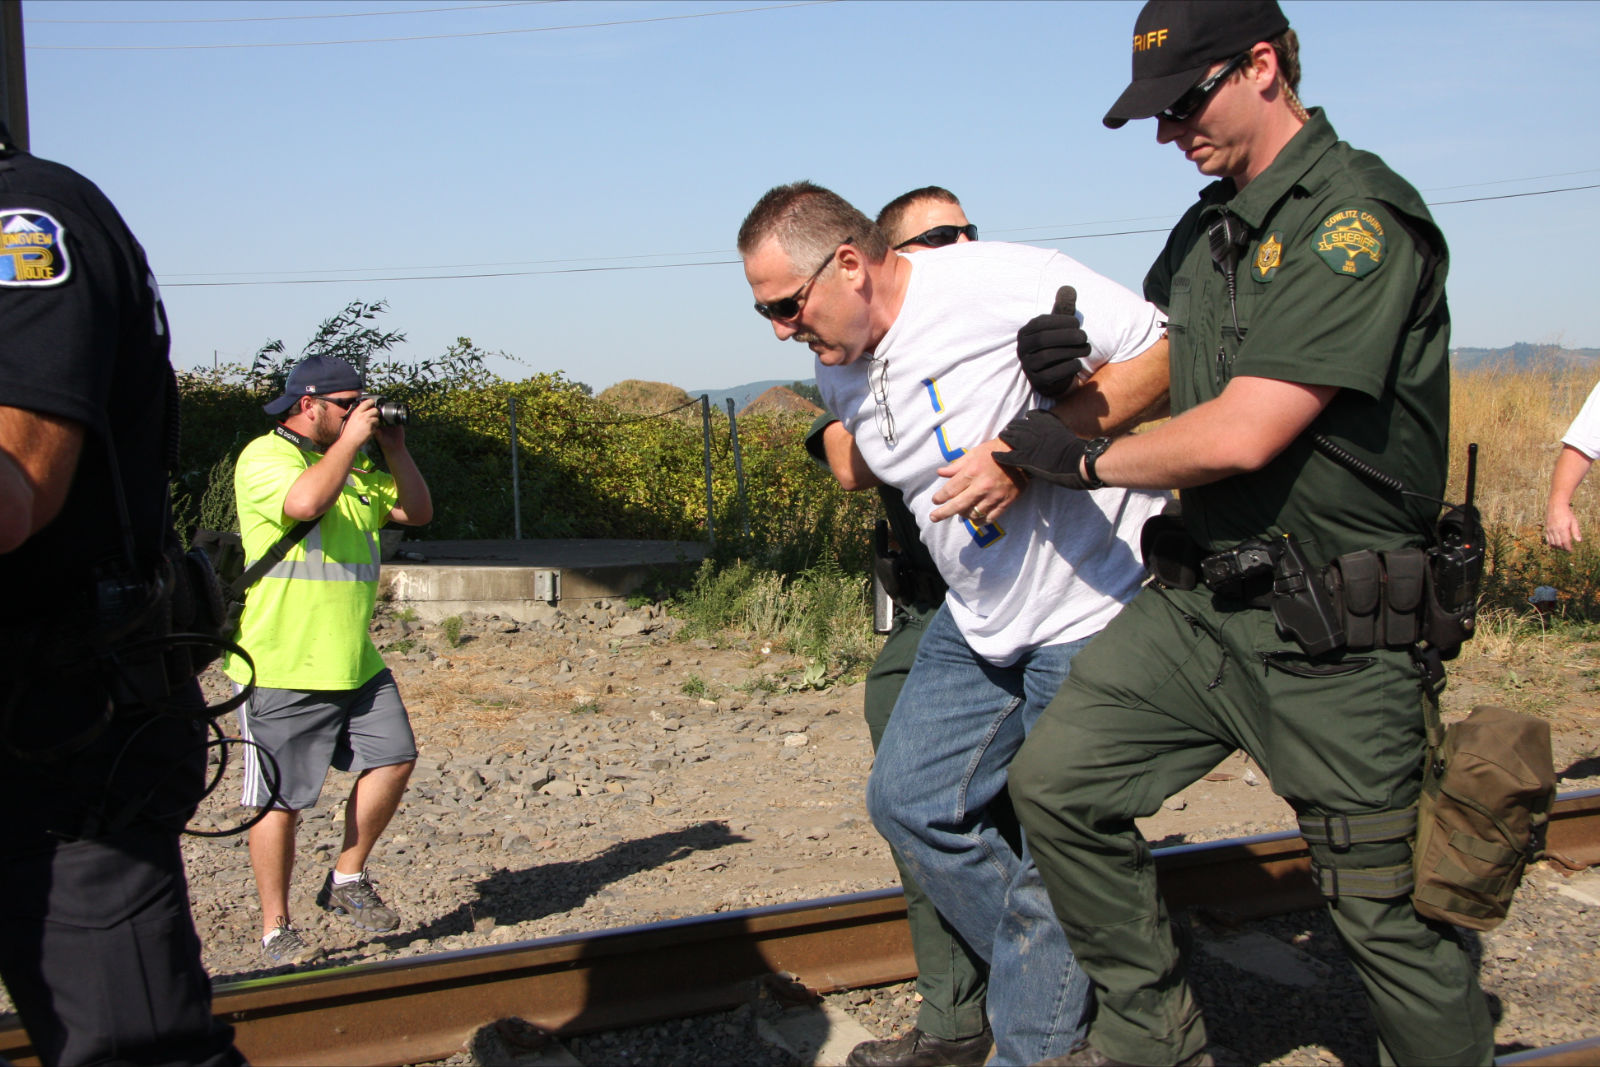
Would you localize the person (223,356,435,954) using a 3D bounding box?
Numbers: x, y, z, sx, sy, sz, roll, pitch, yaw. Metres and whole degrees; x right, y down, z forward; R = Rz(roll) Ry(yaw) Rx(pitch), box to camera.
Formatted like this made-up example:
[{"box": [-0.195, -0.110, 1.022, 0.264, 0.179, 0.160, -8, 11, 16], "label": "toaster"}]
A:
[{"box": [-2.064, 0.504, 5.728, 0.805, 2.565, 1.203, -4, 7, -8], "label": "person"}]

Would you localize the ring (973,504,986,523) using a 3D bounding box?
[{"box": [0.531, -0.057, 3.855, 0.031, 0.043, 0.041, -2, 19, 4], "label": "ring"}]

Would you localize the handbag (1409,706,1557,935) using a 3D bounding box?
[{"box": [1.864, 0.809, 3.588, 0.470, 0.623, 0.247, -5, 7, -17], "label": "handbag"}]

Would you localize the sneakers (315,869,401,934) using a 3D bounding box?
[{"box": [-1.998, 1.680, 5.923, 0.330, 0.182, 0.120, 30, 23, 8], "label": "sneakers"}]

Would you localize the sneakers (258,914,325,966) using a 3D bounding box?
[{"box": [-2.102, 1.694, 5.426, 0.353, 0.171, 0.135, -9, -11, 43], "label": "sneakers"}]

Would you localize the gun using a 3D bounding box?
[{"box": [1.311, 0.166, 3.621, 0.363, 0.324, 0.109, 3, 9, 40], "label": "gun"}]

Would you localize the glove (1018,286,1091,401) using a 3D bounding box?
[{"box": [0.759, -0.551, 3.860, 0.133, 0.317, 0.240, -1, 29, 15], "label": "glove"}]

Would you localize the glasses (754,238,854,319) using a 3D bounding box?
[{"box": [0.014, -0.763, 3.986, 0.289, 0.228, 0.075, -3, 7, 2], "label": "glasses"}]
